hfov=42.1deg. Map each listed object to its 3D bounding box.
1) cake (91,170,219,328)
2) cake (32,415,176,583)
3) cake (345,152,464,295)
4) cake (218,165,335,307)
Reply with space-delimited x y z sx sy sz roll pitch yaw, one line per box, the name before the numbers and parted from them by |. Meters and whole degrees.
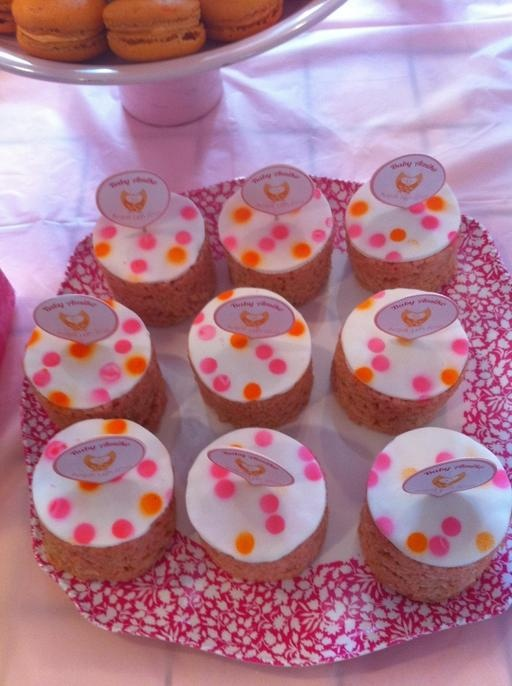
cake | -0.326 -0.241 1.915 0.441 0.355 0.365 -11 21 -18
cake | -0.314 0.412 1.561 0.275 0.224 0.270 -2 -7 -37
cake | 0.319 -0.324 1.818 0.401 0.377 0.323 -4 69 11
cake | 0.050 -0.288 1.875 0.409 0.392 0.329 -4 70 0
